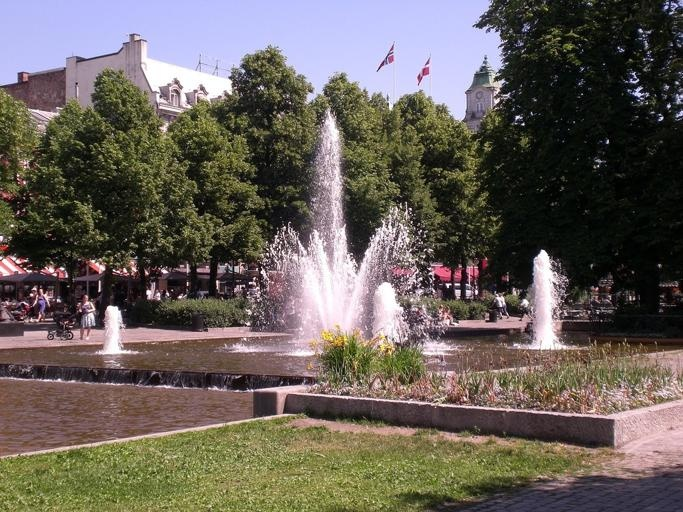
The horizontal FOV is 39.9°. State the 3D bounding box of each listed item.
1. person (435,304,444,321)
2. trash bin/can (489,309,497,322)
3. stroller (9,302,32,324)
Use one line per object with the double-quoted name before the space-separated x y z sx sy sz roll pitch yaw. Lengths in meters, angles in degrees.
"person" 4.890 2.806 46.796 0.361 0.672 0.957 0 2 6
"trash bin/can" 8.518 3.318 52.557 0.506 0.702 0.566 -2 -3 36
"stroller" -16.330 2.873 47.632 1.729 1.157 0.915 -2 -2 27
